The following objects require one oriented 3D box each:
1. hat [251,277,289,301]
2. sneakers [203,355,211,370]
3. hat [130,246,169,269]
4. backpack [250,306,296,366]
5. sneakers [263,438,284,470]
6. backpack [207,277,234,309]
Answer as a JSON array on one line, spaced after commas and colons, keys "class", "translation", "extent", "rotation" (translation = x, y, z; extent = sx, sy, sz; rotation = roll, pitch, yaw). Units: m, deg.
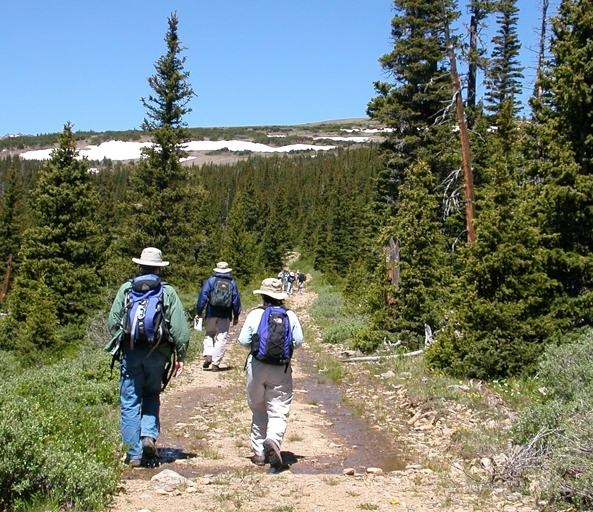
[{"class": "hat", "translation": [-0.421, 0.499, 9.784], "extent": [0.384, 0.202, 0.340], "rotation": [12, 2, 39]}, {"class": "sneakers", "translation": [-2.232, 2.628, 15.828], "extent": [0.123, 0.448, 0.289], "rotation": [8, 20, -12]}, {"class": "hat", "translation": [-4.063, 0.021, 17.456], "extent": [0.759, 0.414, 0.955], "rotation": [7, 6, -6]}, {"class": "backpack", "translation": [-0.354, 1.219, 9.616], "extent": [0.557, 0.941, 0.476], "rotation": [10, -22, -19]}, {"class": "sneakers", "translation": [-0.330, 2.897, 9.429], "extent": [0.216, 0.556, 0.222], "rotation": [-13, 8, 32]}, {"class": "backpack", "translation": [-1.786, 0.958, 15.282], "extent": [0.460, 0.794, 0.418], "rotation": [5, -27, -1]}]
